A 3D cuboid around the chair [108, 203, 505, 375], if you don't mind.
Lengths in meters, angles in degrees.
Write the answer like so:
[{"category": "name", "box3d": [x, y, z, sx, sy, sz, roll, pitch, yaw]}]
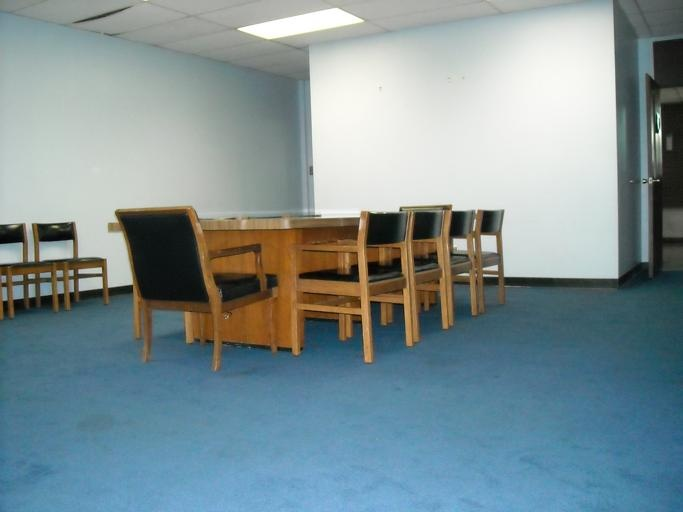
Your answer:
[{"category": "chair", "box3d": [-0.077, 0.117, 3.803, 2.730, 1.006, 1.381, -7, 8, -39]}]
